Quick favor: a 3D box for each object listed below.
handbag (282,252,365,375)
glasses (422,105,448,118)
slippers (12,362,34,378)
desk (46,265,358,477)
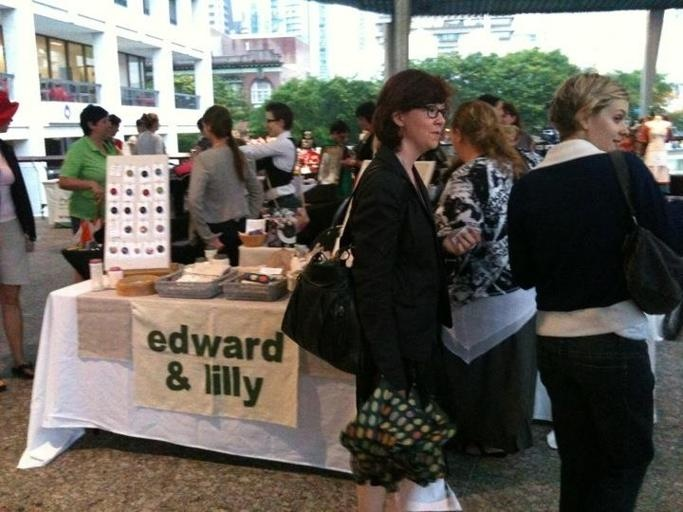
[{"bbox_3d":[-0.030,0.211,2.395,0.242,0.455,0.496,-13,20,-34],"label":"handbag"},{"bbox_3d":[0.364,-0.542,2.225,0.067,0.019,0.066,-4,8,-42],"label":"glasses"},{"bbox_3d":[-2.330,0.849,4.377,0.257,0.092,0.083,1,3,18],"label":"slippers"},{"bbox_3d":[-0.776,0.533,3.286,1.293,0.444,1.209,3,8,11],"label":"desk"}]
